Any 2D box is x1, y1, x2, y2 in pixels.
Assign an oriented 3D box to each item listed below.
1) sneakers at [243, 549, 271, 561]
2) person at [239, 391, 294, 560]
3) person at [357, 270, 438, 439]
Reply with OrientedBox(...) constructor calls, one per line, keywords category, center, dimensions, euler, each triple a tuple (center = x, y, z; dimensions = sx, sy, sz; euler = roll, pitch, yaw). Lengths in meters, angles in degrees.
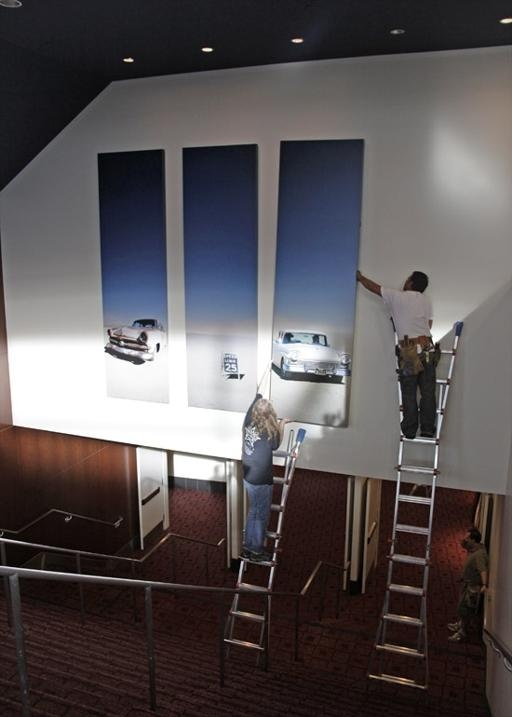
OrientedBox(category="sneakers", center=(0.020, 1.935, 5.535), dimensions=(0.283, 0.125, 0.101), euler=(-1, 13, 2))
OrientedBox(category="person", center=(0.041, 1.161, 5.347), dimensions=(0.373, 1.621, 0.437), euler=(3, 7, -1))
OrientedBox(category="person", center=(1.356, -0.035, 5.199), dimensions=(0.680, 1.519, 0.367), euler=(6, 7, 20))
